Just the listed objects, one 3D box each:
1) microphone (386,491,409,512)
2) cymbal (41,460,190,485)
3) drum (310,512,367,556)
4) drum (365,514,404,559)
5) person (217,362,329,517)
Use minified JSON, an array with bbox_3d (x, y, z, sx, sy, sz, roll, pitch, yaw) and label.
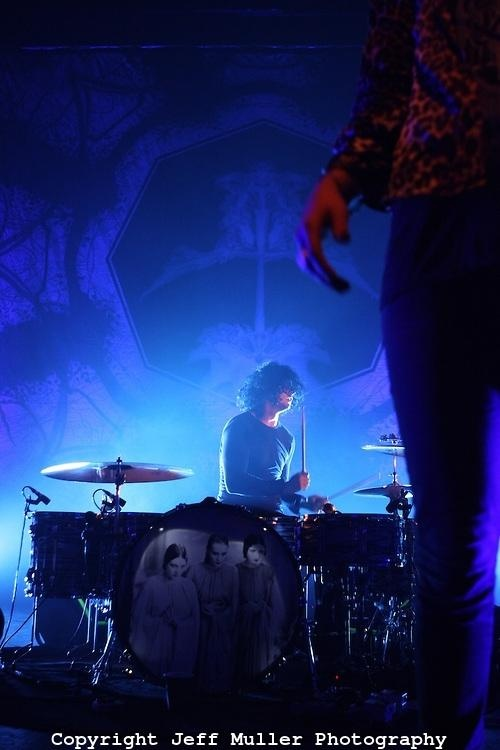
[{"bbox_3d":[0.743,0.652,3.841,0.101,0.058,0.101,20,-40,-27],"label":"microphone"},{"bbox_3d":[-0.704,0.541,4.052,0.706,0.128,0.655,-9,-14,41],"label":"cymbal"},{"bbox_3d":[0.382,0.699,3.337,0.205,0.143,0.194,1,-9,0],"label":"drum"},{"bbox_3d":[0.594,0.735,3.454,0.191,0.187,0.195,-8,-13,44],"label":"drum"},{"bbox_3d":[0.156,0.419,4.636,0.577,0.890,0.506,-26,-49,24],"label":"person"}]
